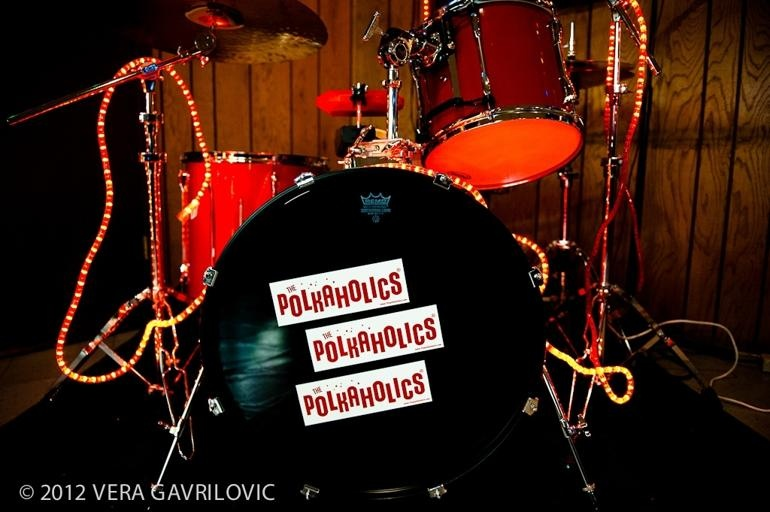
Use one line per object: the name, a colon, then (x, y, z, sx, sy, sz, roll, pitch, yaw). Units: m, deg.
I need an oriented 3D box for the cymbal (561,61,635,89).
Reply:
cymbal: (0.965, -0.869, 3.510, 0.226, 0.055, 0.220, -2, 7, -43)

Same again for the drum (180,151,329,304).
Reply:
drum: (-0.792, -0.156, 3.670, 0.596, 0.605, 0.566, -7, 1, -38)
